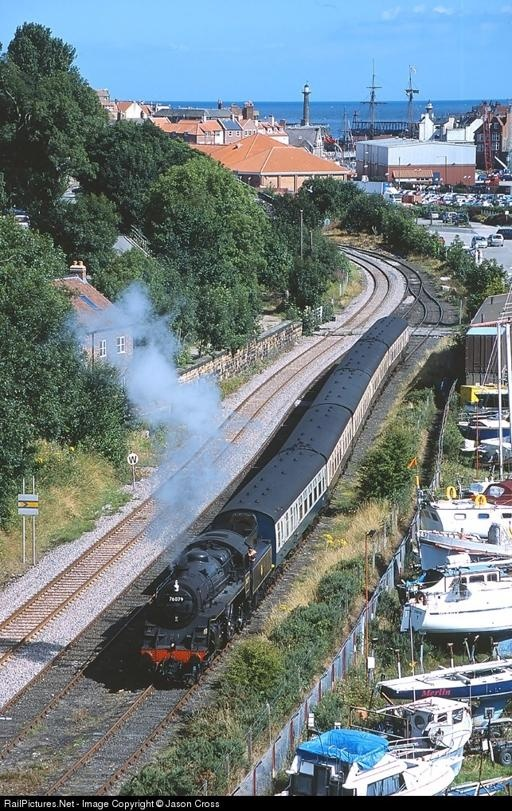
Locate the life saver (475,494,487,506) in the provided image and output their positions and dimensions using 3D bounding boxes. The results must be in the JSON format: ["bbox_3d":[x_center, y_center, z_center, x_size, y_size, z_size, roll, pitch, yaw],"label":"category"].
[{"bbox_3d":[6.926,2.890,38.815,0.285,0.322,0.098,2,4,-19],"label":"life saver"}]

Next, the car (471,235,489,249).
[{"bbox_3d":[18.528,-13.759,103.751,1.160,0.987,2.167,0,16,6],"label":"car"}]

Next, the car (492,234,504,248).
[{"bbox_3d":[20.313,-14.107,105.138,0.839,0.901,1.618,-1,14,9],"label":"car"}]
